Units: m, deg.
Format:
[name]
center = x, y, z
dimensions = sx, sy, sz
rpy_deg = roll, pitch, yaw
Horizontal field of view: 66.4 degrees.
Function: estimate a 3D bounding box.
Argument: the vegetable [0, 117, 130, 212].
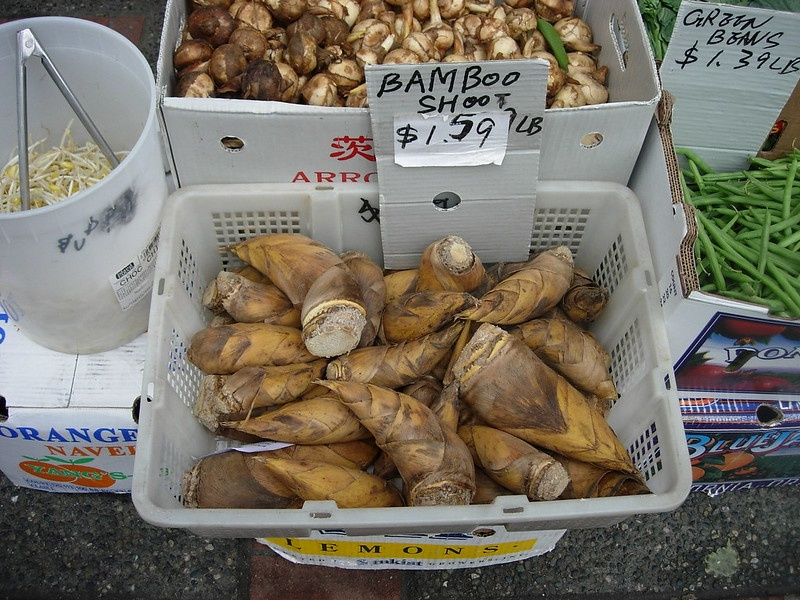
[vegetable]
center = -1.223, -0.489, 2.216
dimensions = 0.350, 0.128, 0.293
rpy_deg = -39, 56, -12
